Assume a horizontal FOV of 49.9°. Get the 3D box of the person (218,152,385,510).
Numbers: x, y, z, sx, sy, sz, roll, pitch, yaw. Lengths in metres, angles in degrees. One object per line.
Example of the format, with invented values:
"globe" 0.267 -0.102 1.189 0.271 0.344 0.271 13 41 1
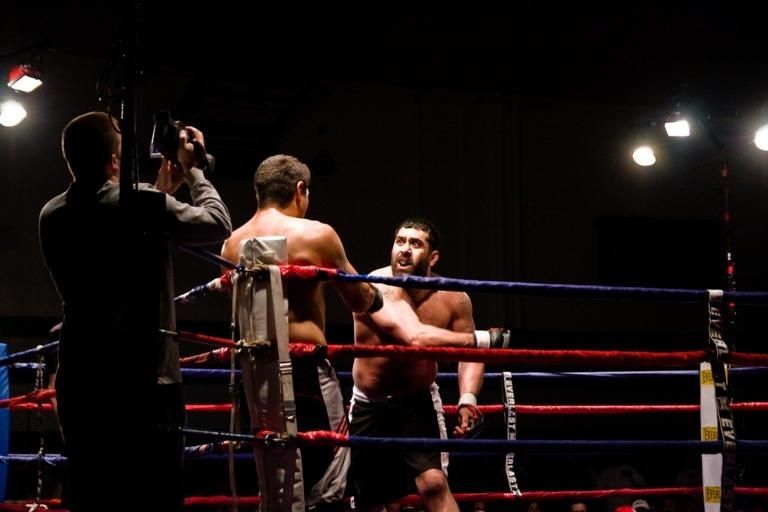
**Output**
"person" -0.573 0.504 5.952 1.016 2.568 0.499 6 -15 -27
